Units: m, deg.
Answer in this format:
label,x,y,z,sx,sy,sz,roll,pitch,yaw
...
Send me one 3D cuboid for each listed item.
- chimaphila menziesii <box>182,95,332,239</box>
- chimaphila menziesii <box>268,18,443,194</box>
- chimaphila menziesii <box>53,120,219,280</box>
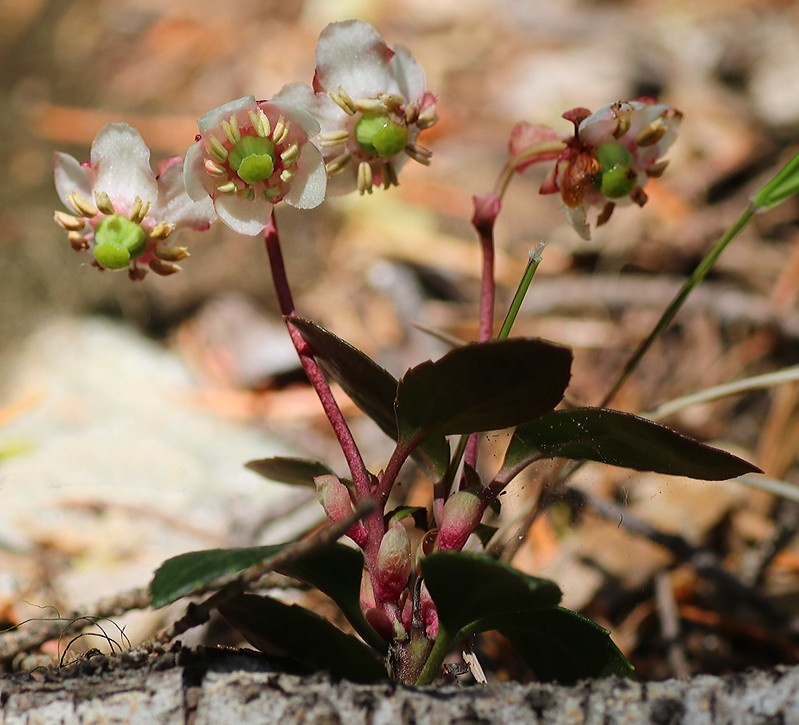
label,x,y,z,sx,sy,sz,roll,pitch,yaw
chimaphila menziesii,-0.203,-0.277,1.608,0.194,0.189,0.105,0,15,-5
chimaphila menziesii,-0.057,-0.371,1.678,0.244,0.249,0.103,4,-5,-15
chimaphila menziesii,-0.395,-0.216,1.666,0.275,0.123,0.286,16,-28,-10
